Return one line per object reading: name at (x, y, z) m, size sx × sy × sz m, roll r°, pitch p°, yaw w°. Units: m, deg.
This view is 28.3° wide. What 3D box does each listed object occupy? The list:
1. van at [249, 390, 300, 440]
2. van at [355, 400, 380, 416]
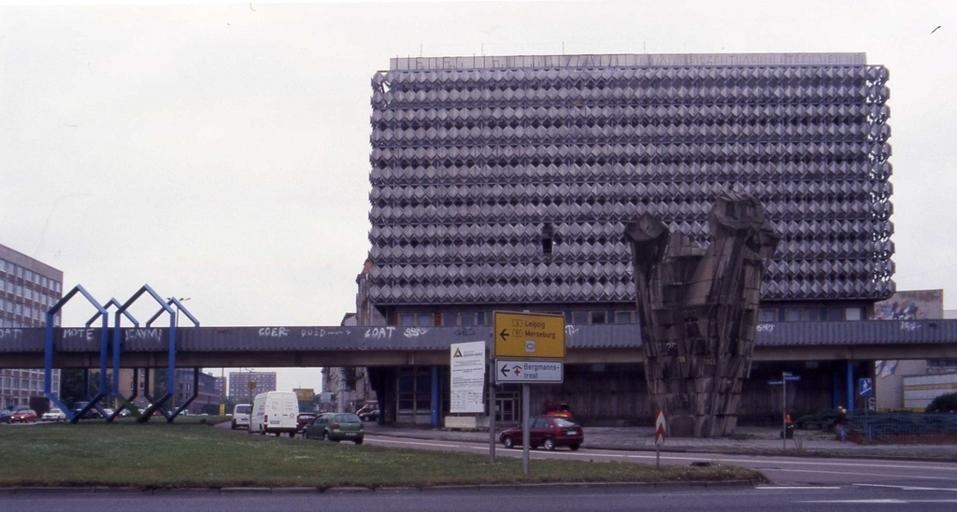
van at (-26.917, 20.658, 250.296) m, size 5.108 × 4.649 × 10.133 m, roll 0°, pitch -2°, yaw -10°
van at (-16.675, 22.815, 284.291) m, size 3.657 × 2.009 × 1.999 m, roll 2°, pitch -8°, yaw -4°
